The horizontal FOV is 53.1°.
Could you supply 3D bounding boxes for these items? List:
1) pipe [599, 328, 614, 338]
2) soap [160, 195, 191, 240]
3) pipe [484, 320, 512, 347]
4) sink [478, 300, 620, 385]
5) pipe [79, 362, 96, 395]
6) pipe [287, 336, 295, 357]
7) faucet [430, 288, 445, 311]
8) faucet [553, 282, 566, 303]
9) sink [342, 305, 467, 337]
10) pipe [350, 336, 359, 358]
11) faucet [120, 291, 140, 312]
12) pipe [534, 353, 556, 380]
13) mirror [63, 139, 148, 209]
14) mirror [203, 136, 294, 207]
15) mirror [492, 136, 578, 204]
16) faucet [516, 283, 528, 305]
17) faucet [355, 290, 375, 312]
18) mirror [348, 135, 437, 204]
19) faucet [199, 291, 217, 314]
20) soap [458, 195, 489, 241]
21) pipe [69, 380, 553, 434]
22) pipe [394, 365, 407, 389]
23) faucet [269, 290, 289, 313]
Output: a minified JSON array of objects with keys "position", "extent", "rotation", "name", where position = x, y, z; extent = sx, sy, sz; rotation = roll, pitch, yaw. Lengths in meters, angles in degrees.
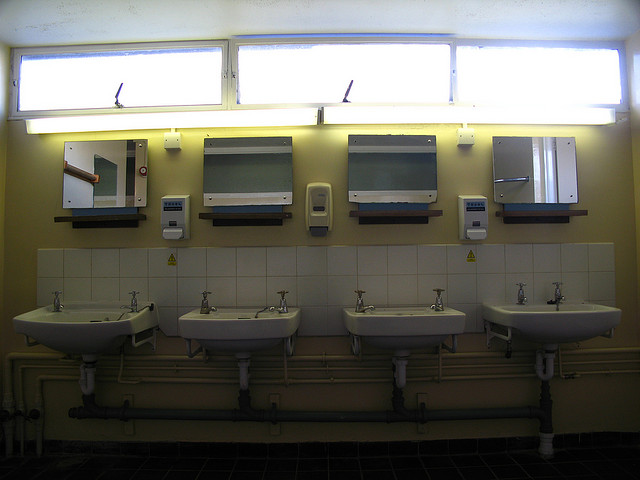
[{"position":[2.244,0.735,5.037],"extent":[0.115,0.106,0.071],"rotation":[-5,-6,16],"name":"pipe"},{"position":[-1.159,-0.172,5.139],"extent":[0.225,0.371,0.148],"rotation":[-2,3,-9],"name":"soap"},{"position":[1.399,0.764,5.010],"extent":[0.093,0.214,0.336],"rotation":[-2,3,-9],"name":"pipe"},{"position":[1.820,0.707,5.042],"extent":[0.904,0.637,0.719],"rotation":[-1,-9,1],"name":"sink"},{"position":[-1.826,1.091,5.028],"extent":[0.117,0.258,0.070],"rotation":[-3,3,-29],"name":"pipe"},{"position":[-0.233,0.842,5.064],"extent":[0.048,0.162,0.069],"rotation":[-2,3,-3],"name":"pipe"},{"position":[0.937,0.471,5.098],"extent":[0.113,0.164,0.169],"rotation":[-1,3,11],"name":"faucet"},{"position":[1.927,0.426,5.157],"extent":[0.088,0.158,0.141],"rotation":[0,3,31],"name":"faucet"},{"position":[0.627,0.629,4.922],"extent":[0.870,0.170,0.437],"rotation":[-1,3,-3],"name":"sink"},{"position":[0.277,0.845,5.058],"extent":[0.048,0.202,0.185],"rotation":[-2,3,-6],"name":"pipe"},{"position":[-1.493,0.492,5.134],"extent":[0.192,0.150,0.133],"rotation":[0,3,31],"name":"faucet"},{"position":[1.784,0.991,5.077],"extent":[0.141,0.220,0.149],"rotation":[0,3,19],"name":"pipe"},{"position":[-1.768,-0.526,5.225],"extent":[0.771,0.587,0.035],"rotation":[1,0,14],"name":"mirror"},{"position":[-0.582,-0.544,5.157],"extent":[0.706,0.553,0.066],"rotation":[-1,3,1],"name":"mirror"},{"position":[1.752,-0.571,5.204],"extent":[0.668,0.535,0.059],"rotation":[-1,3,0],"name":"mirror"},{"position":[1.634,0.435,5.170],"extent":[0.097,0.166,0.063],"rotation":[-3,3,-36],"name":"faucet"},{"position":[0.337,0.483,5.084],"extent":[0.188,0.164,0.124],"rotation":[-2,3,-22],"name":"faucet"},{"position":[0.542,-0.558,5.319],"extent":[1.040,0.703,0.504],"rotation":[0,1,0],"name":"mirror"},{"position":[-0.895,0.505,5.145],"extent":[0.172,0.187,0.125],"rotation":[0,-3,-9],"name":"faucet"},{"position":[1.233,-0.181,5.153],"extent":[0.214,0.359,0.166],"rotation":[-1,3,1],"name":"soap"},{"position":[-0.034,1.292,5.114],"extent":[3.848,0.517,0.160],"rotation":[1,-3,-1],"name":"pipe"},{"position":[0.638,1.064,5.039],"extent":[0.098,0.214,0.209],"rotation":[-1,3,7],"name":"pipe"},{"position":[-0.330,0.495,5.098],"extent":[0.180,0.164,0.121],"rotation":[0,-9,1],"name":"faucet"}]
